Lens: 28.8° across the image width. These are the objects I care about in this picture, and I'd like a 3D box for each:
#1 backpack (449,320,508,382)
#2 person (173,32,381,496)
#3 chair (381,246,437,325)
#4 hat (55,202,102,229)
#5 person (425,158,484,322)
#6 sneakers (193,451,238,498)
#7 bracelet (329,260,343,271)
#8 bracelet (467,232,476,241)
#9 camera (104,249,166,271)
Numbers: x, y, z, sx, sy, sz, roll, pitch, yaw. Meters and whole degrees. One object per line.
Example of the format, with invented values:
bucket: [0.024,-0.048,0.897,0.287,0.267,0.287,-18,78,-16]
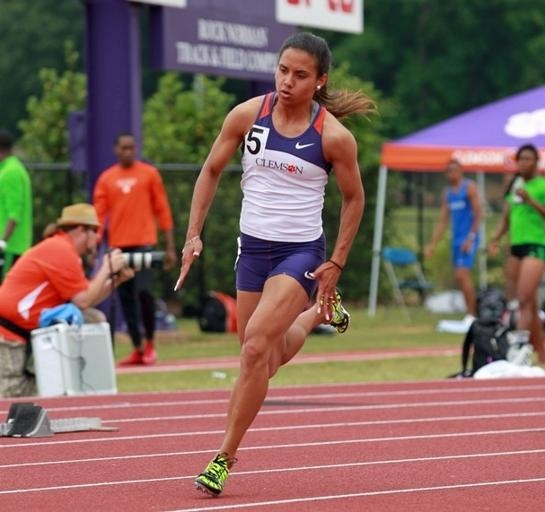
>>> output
backpack: [1.713,0.780,8.794,0.285,0.481,0.505,1,0,-24]
person: [0.002,0.016,5.292,0.939,2.263,0.498,1,0,-12]
chair: [1.902,0.315,16.078,0.720,1.262,0.940,-4,4,-30]
hat: [-1.462,-0.299,8.064,0.287,0.132,0.333,1,-9,-4]
person: [1.832,-0.168,10.548,0.469,1.606,0.683,1,0,-2]
sneakers: [-0.257,1.032,5.086,0.108,0.145,0.304,36,13,2]
bracelet: [0.316,0.048,5.275,0.058,0.013,0.055,41,-7,6]
bracelet: [1.954,-0.182,10.383,0.061,0.082,0.032,20,6,17]
camera: [-0.936,0.025,8.068,0.666,0.211,0.171,-1,1,-26]
